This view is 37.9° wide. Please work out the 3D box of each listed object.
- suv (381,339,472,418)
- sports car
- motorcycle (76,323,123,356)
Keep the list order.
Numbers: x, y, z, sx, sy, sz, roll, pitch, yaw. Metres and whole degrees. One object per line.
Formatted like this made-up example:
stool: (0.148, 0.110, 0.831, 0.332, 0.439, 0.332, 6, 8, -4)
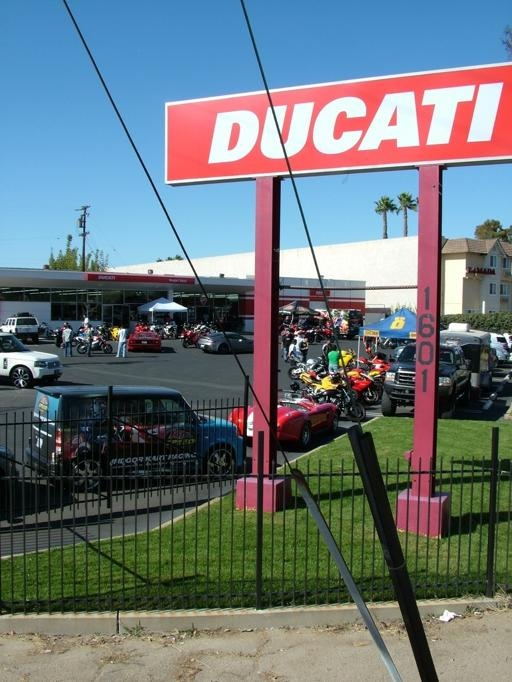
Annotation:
suv: (4.210, 0.997, 18.697, 1.523, 1.614, 3.952, 0, 1, 32)
sports car: (0.601, 1.386, 14.387, 1.552, 0.803, 2.857, 7, 6, 28)
motorcycle: (-7.924, -0.170, 36.602, 1.532, 1.494, 2.436, 4, -10, -37)
